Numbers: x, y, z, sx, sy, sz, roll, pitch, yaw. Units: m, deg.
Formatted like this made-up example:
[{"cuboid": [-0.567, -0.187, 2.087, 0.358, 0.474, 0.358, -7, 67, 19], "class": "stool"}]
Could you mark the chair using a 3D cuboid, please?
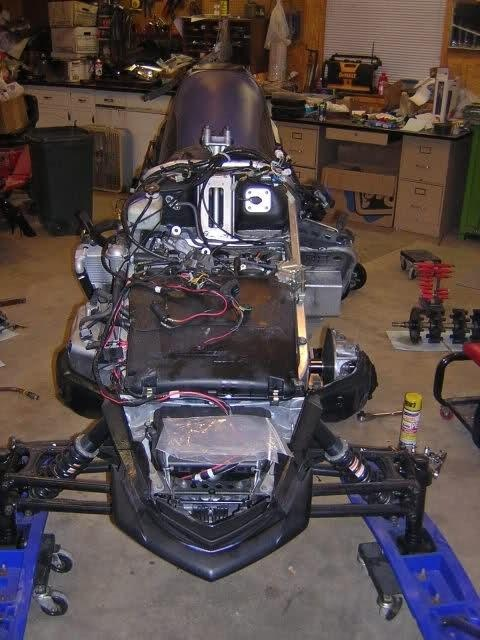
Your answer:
[{"cuboid": [-0.084, -1.362, 3.722, 0.446, 0.528, 0.541, -5, 1, -3], "class": "chair"}]

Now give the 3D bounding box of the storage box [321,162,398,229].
[{"cuboid": [1.542, -1.540, 6.291, 0.950, 0.645, 0.563, 21, 44, 40], "class": "storage box"}]

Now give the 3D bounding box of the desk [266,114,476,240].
[{"cuboid": [1.489, -1.799, 6.220, 1.928, 1.224, 0.672, 15, 47, 27], "class": "desk"}]

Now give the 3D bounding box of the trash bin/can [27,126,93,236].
[{"cuboid": [-1.855, -1.407, 5.621, 0.630, 1.042, 0.290, -3, 23, -14], "class": "trash bin/can"}]
